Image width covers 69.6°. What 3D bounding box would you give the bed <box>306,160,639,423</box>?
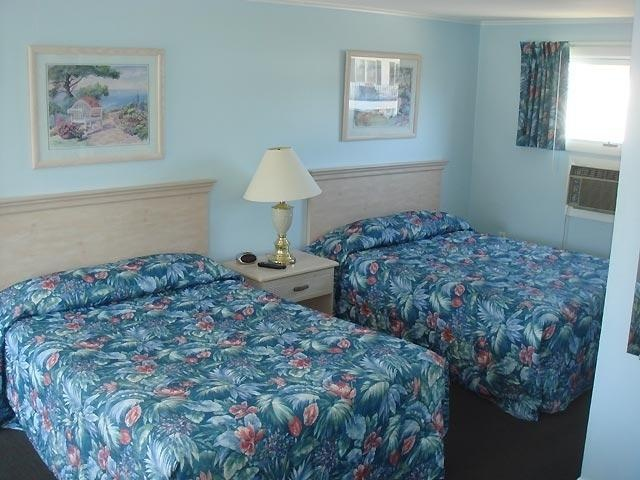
[{"bbox_3d":[1.384,0.137,4.222,1.969,1.395,2.583,-13,19,-38],"label":"bed"}]

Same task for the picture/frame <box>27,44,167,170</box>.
[{"bbox_3d":[-1.634,-0.964,3.259,0.931,0.783,0.043,-11,22,-37],"label":"picture/frame"}]

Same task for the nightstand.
[{"bbox_3d":[-0.326,0.235,3.913,0.750,0.692,0.569,-14,24,-41],"label":"nightstand"}]

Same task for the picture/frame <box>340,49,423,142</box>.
[{"bbox_3d":[0.634,-1.466,4.719,1.035,0.865,0.044,-13,24,-34],"label":"picture/frame"}]
